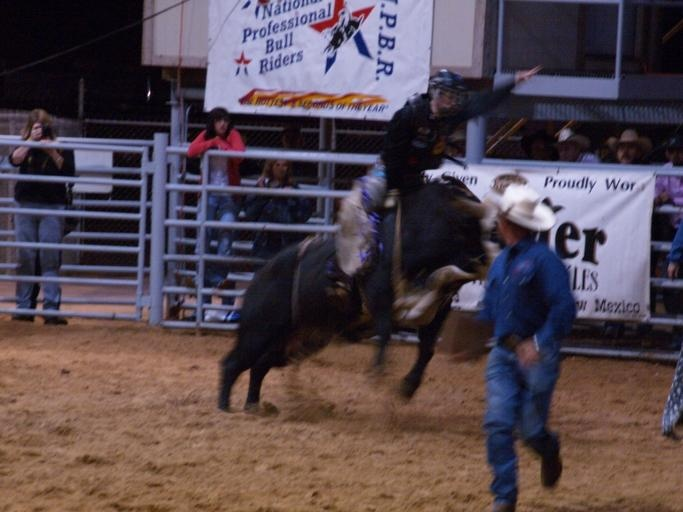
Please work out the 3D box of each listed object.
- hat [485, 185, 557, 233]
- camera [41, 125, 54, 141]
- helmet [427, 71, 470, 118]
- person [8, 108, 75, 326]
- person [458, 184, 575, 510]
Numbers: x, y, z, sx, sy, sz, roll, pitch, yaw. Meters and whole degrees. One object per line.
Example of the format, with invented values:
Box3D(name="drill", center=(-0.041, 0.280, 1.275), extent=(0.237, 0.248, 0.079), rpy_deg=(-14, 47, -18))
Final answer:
Box3D(name="hat", center=(1.629, -0.403, 11.069), extent=(0.494, 0.185, 0.419), rpy_deg=(30, 34, 12))
Box3D(name="camera", center=(-3.732, -1.594, 15.534), extent=(0.155, 0.158, 0.148), rpy_deg=(-8, 17, -28))
Box3D(name="helmet", center=(1.070, -1.647, 12.236), extent=(0.399, 0.463, 0.173), rpy_deg=(3, 1, 3))
Box3D(name="person", center=(-3.879, -0.515, 15.692), extent=(0.818, 2.451, 0.689), rpy_deg=(3, 1, -8))
Box3D(name="person", center=(1.642, 0.820, 11.140), extent=(0.929, 2.933, 0.642), rpy_deg=(3, 1, 12))
